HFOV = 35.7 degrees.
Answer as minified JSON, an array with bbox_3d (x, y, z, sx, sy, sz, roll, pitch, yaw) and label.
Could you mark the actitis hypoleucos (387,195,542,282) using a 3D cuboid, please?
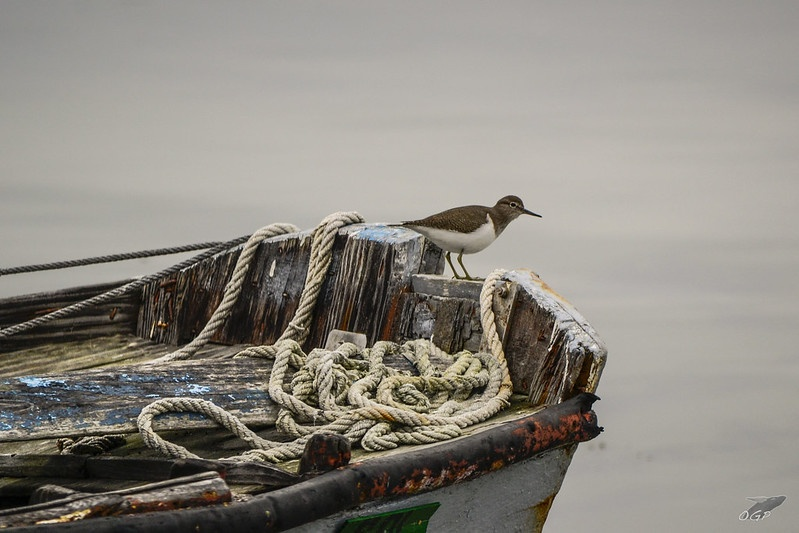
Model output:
[{"bbox_3d":[0.442,-0.181,7.663,0.910,0.469,0.266,0,-3,-15],"label":"actitis hypoleucos"}]
